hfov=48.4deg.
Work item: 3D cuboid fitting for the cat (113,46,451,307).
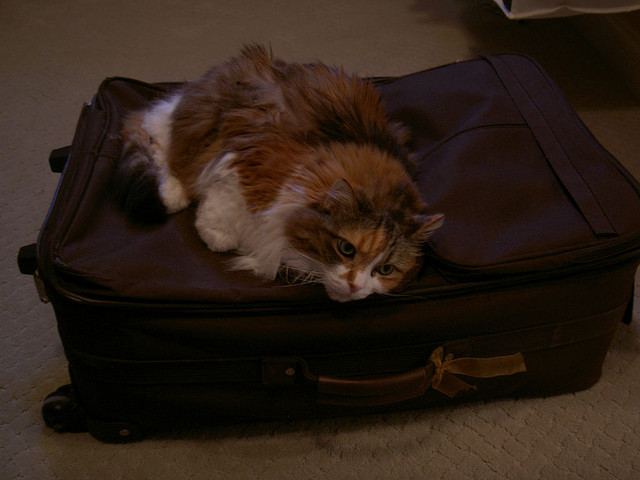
[{"bbox_3d":[-0.066,-0.133,1.369,0.565,0.309,0.530,-13,43,-12],"label":"cat"}]

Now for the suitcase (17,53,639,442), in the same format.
[{"bbox_3d":[0.066,0.029,1.423,1.190,0.410,0.719,-1,38,-4],"label":"suitcase"}]
